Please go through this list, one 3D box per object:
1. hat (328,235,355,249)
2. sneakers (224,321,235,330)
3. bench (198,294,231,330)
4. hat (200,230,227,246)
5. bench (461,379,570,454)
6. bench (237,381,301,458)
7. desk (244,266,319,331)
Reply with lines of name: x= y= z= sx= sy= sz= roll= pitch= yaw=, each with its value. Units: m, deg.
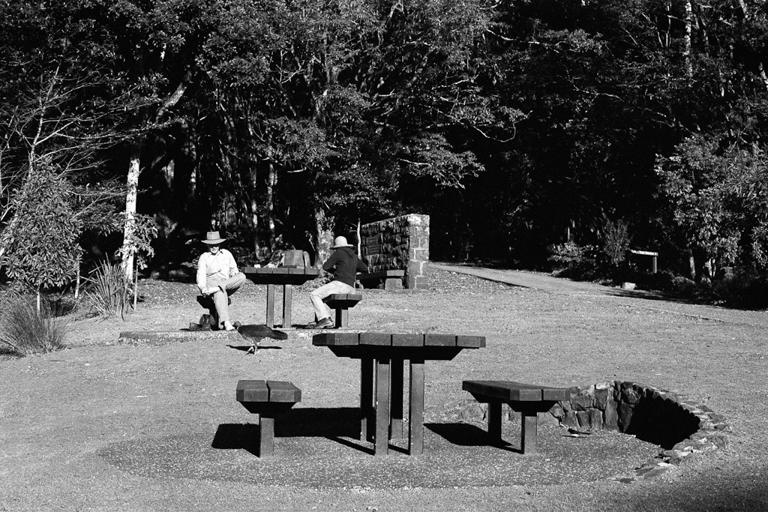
hat: x=-0.904 y=-0.268 z=14.985 sx=0.574 sy=0.311 sz=0.616 roll=0 pitch=2 yaw=4
sneakers: x=-3.048 y=1.401 z=14.026 sx=0.167 sy=0.155 sz=0.340 roll=-1 pitch=-10 yaw=-30
bench: x=-3.463 y=1.149 z=14.387 sx=0.608 sy=0.662 sz=0.650 roll=0 pitch=2 yaw=0
hat: x=-3.502 y=-0.343 z=14.644 sx=0.636 sy=0.311 sz=0.759 roll=-3 pitch=-4 yaw=-11
bench: x=1.509 y=1.928 z=8.291 sx=0.596 sy=0.794 sz=1.661 roll=3 pitch=-6 yaw=-12
bench: x=-1.351 y=1.879 z=8.198 sx=0.641 sy=0.866 sz=1.268 roll=2 pitch=0 yaw=-9
desk: x=-2.131 y=0.781 z=14.868 sx=1.246 sy=1.214 sz=1.327 roll=1 pitch=3 yaw=-3
